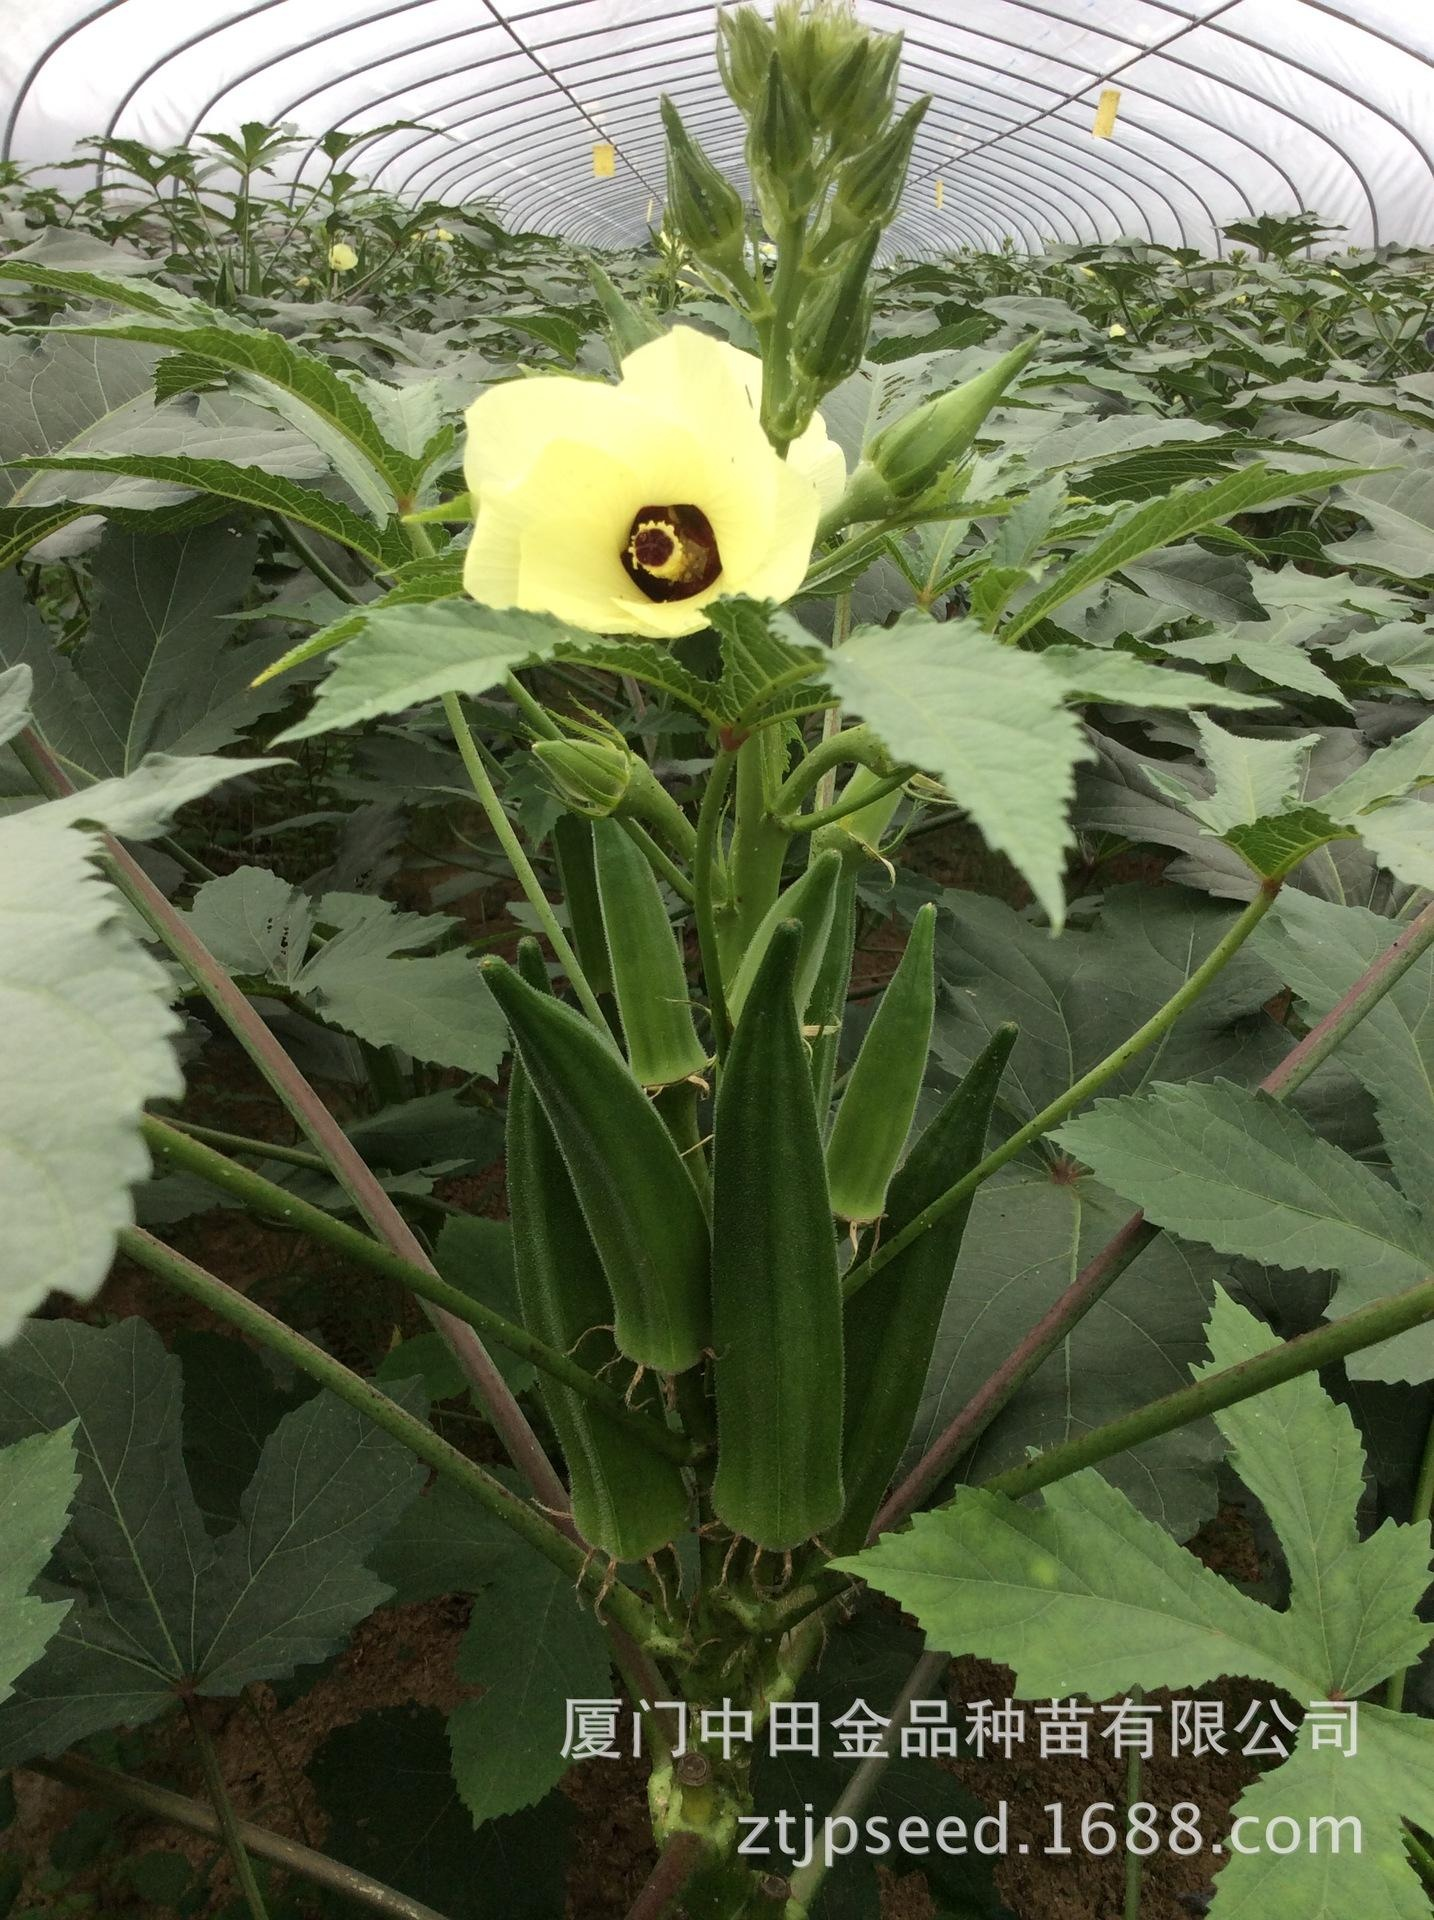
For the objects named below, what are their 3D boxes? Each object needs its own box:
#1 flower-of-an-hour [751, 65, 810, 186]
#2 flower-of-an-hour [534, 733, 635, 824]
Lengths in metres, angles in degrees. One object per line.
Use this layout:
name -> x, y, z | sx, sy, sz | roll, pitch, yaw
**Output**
flower-of-an-hour -> 0.029, -0.405, 0.696 | 0.033, 0.058, 0.025 | -5, 24, 1
flower-of-an-hour -> -0.077, -0.092, 0.735 | 0.056, 0.037, 0.026 | 15, 10, -17
